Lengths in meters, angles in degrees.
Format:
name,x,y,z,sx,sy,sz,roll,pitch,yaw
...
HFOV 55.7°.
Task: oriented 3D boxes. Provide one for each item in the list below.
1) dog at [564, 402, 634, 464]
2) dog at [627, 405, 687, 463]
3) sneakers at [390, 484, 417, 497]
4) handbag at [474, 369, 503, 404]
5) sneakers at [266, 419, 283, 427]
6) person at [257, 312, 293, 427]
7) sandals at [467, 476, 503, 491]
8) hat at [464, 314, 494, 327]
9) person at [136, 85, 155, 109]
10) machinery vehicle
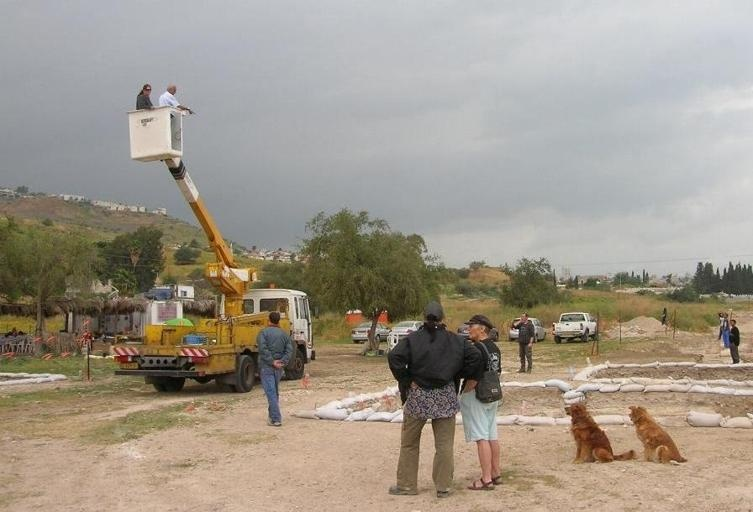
name,x,y,z,sx,sy,sz,roll,pitch,yaw
dog,4.369,3.554,14.074,1.448,1.085,0.562,11,-14,-7
dog,5.490,3.492,13.984,0.532,1.015,1.428,-7,4,-22
sneakers,0.482,4.189,12.911,0.420,0.214,0.202,9,2,12
handbag,2.003,2.358,12.974,0.553,0.667,0.358,1,-16,-12
sneakers,-2.446,3.955,17.008,0.370,0.179,0.129,-3,-2,36
person,-2.471,2.707,17.260,0.799,2.695,0.817,-2,-6,-10
sandals,2.003,4.127,13.029,0.572,0.183,0.229,1,-4,8
hat,1.924,1.208,13.362,0.380,0.158,0.271,8,-3,13
person,-6.672,-4.529,20.487,0.328,0.774,0.399,1,-7,-29
machinery vehicle,-4.969,0.092,24.222,3.441,8.401,8.805,0,-2,18
